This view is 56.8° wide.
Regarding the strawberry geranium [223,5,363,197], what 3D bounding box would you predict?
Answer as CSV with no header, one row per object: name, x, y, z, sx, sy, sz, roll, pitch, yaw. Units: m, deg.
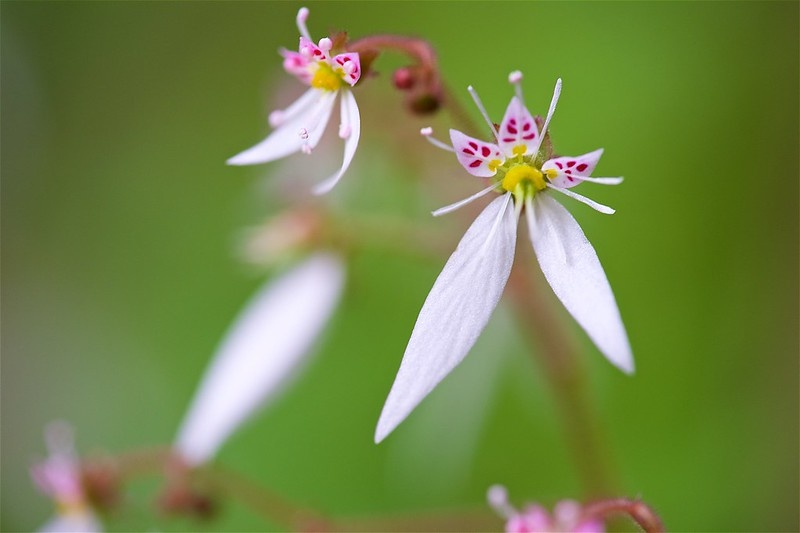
strawberry geranium,-0.146,-0.209,1.068,0.143,0.231,0.234,18,-51,-21
